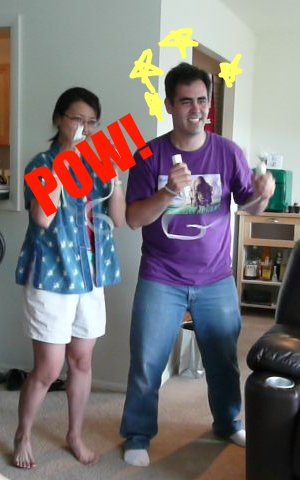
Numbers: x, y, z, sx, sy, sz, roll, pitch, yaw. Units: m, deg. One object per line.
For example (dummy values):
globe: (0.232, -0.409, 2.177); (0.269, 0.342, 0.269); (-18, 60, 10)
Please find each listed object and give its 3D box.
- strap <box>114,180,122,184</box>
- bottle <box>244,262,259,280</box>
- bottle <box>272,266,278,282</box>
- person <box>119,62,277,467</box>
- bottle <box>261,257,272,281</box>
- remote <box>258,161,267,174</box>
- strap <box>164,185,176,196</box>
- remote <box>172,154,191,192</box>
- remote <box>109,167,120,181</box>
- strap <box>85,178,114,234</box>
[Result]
strap: (-0.111, -0.199, 1.317); (0.013, 0.010, 0.013); (-16, -13, 20)
bottle: (0.934, 0.287, 3.569); (0.109, 0.166, 0.090); (1, -1, 5)
bottle: (1.159, 0.312, 3.541); (0.049, 0.135, 0.140); (1, -1, 27)
person: (0.152, 0.116, 1.371); (0.495, 1.435, 0.506); (1, -1, -5)
bottle: (1.090, 0.268, 3.597); (0.099, 0.208, 0.145); (1, -1, 17)
remote: (0.342, -0.218, 1.163); (0.023, 0.027, 0.027); (4, -16, -1)
strap: (0.061, -0.153, 1.182); (0.026, 0.011, 0.022); (33, 11, 2)
remote: (0.103, -0.233, 1.255); (0.042, 0.133, 0.179); (1, 0, 13)
remote: (-0.111, -0.214, 1.296); (0.043, 0.052, 0.050); (1, 2, -1)
strap: (-0.149, -0.113, 1.316); (0.129, 0.186, 0.105); (1, -1, 43)
